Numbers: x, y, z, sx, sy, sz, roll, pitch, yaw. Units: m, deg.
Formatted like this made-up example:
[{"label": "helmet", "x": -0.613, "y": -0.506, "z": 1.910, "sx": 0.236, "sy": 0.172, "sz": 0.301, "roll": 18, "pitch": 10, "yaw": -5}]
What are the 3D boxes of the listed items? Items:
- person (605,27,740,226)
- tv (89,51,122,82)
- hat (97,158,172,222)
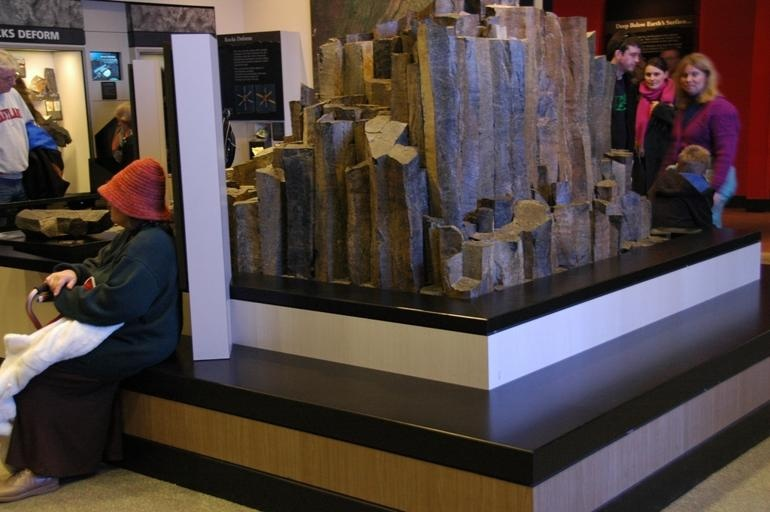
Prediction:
[{"label": "person", "x": 2.326, "y": -1.075, "z": 5.570, "sx": 0.770, "sy": 1.408, "sz": 1.574, "roll": 1, "pitch": 15, "yaw": 8}, {"label": "tv", "x": -3.197, "y": -2.161, "z": 7.804, "sx": 0.050, "sy": 0.331, "sz": 0.363, "roll": 1, "pitch": 6, "yaw": 44}, {"label": "hat", "x": -1.254, "y": -0.326, "z": 3.502, "sx": 0.308, "sy": 0.220, "sz": 0.327, "roll": 37, "pitch": 22, "yaw": 23}]
